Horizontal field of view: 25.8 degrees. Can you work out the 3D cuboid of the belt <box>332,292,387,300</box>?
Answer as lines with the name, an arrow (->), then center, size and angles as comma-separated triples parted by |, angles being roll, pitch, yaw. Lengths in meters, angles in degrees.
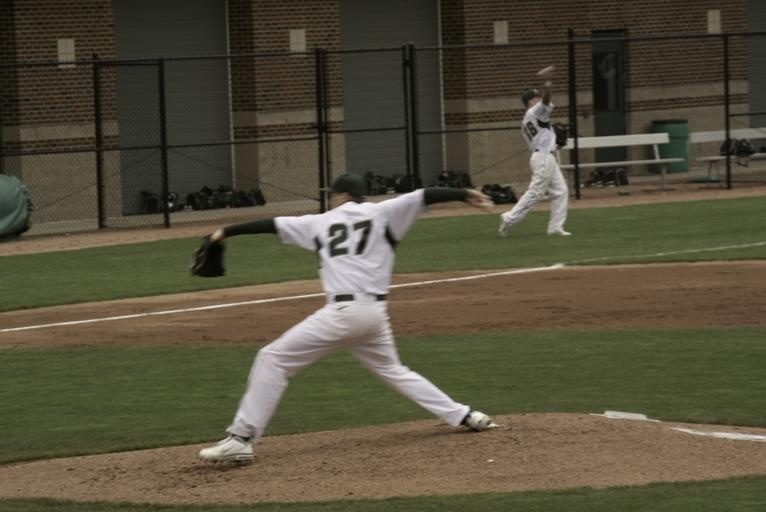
belt -> -0.370, 0.622, 25.217 | 0.775, 0.131, 0.080 | -2, 6, -8

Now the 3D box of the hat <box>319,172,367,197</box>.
hat -> -0.618, -1.107, 25.540 | 0.633, 0.230, 0.349 | 7, 6, 5

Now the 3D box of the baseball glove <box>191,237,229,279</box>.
baseball glove -> -2.664, 0.028, 25.539 | 0.602, 0.570, 0.289 | 1, 8, 3
